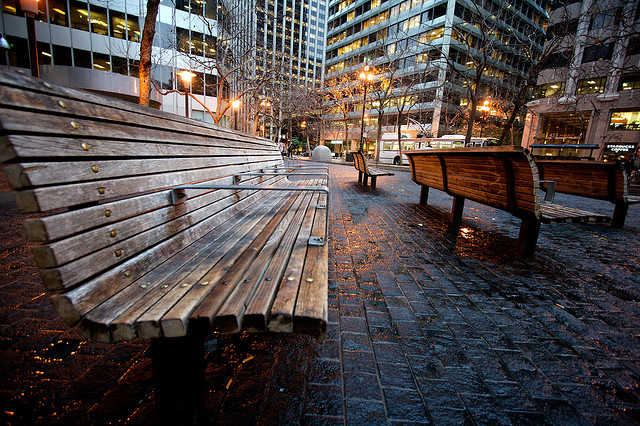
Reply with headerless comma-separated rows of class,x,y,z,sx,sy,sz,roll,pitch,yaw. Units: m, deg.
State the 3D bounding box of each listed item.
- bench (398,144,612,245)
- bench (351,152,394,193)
bench,3.198,-0.261,6.198,1.165,0.787,2.490,-5,13,-5
bench,1.374,-1.261,10.504,0.781,1.180,3.482,1,13,2
